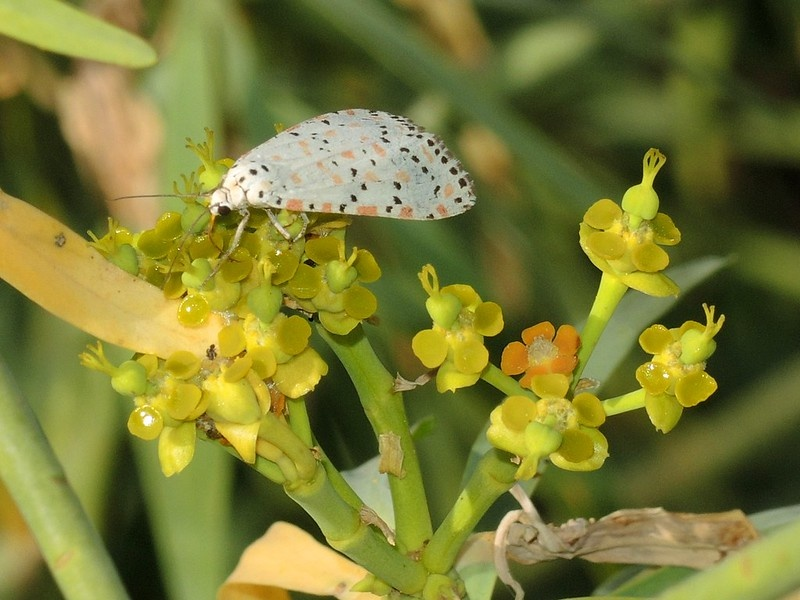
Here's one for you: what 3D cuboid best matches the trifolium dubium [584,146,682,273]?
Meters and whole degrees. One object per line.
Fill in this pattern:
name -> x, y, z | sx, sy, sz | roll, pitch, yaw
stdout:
trifolium dubium -> 0.273, -0.102, 1.102 | 0.120, 0.144, 0.103 | -11, 15, -5

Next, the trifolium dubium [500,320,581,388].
trifolium dubium -> 0.165, 0.062, 1.108 | 0.088, 0.066, 0.036 | -32, 3, 10

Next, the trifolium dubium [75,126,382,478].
trifolium dubium -> -0.184, 0.027, 1.116 | 0.393, 0.370, 0.130 | 14, -23, 3

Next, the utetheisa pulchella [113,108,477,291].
utetheisa pulchella -> -0.114, -0.148, 1.298 | 0.384, 0.090, 0.232 | -11, 45, -18

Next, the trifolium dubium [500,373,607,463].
trifolium dubium -> 0.167, 0.136, 1.039 | 0.101, 0.101, 0.083 | -20, 18, -36

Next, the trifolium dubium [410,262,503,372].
trifolium dubium -> 0.069, 0.024, 1.227 | 0.120, 0.128, 0.110 | 21, 70, 23
